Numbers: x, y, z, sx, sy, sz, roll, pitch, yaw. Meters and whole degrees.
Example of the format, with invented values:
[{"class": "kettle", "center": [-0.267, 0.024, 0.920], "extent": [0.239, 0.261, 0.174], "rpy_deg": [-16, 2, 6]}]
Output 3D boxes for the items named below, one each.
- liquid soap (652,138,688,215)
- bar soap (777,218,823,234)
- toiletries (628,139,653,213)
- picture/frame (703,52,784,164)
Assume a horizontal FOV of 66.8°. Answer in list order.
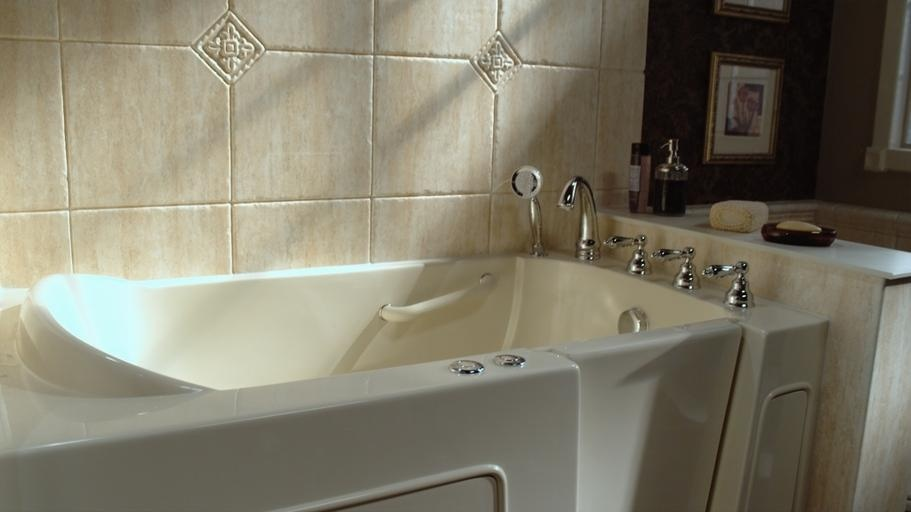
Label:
[{"class": "liquid soap", "center": [0.957, -0.349, 3.045], "extent": [0.164, 0.333, 0.117], "rpy_deg": [1, 5, -4]}, {"class": "bar soap", "center": [1.297, -0.113, 2.602], "extent": [0.166, 0.042, 0.106], "rpy_deg": [1, 4, -19]}, {"class": "toiletries", "center": [0.829, -0.356, 3.126], "extent": [0.087, 0.313, 0.119], "rpy_deg": [3, 5, 10]}, {"class": "picture/frame", "center": [1.406, -0.757, 3.429], "extent": [0.570, 0.571, 0.043], "rpy_deg": [-2, 9, -29]}]
